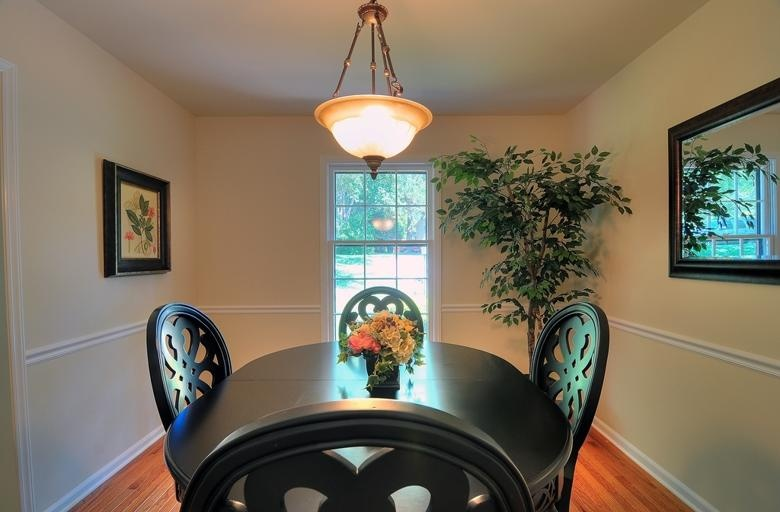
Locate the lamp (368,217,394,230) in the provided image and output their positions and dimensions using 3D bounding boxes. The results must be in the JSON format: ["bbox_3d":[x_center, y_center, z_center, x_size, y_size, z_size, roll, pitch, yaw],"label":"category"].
[{"bbox_3d":[-0.086,-0.321,5.099,0.183,0.171,0.121,3,7,2],"label":"lamp"}]

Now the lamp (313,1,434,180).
[{"bbox_3d":[-0.100,-1.145,3.491,0.745,1.271,0.928,-1,3,4],"label":"lamp"}]

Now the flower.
[{"bbox_3d":[-0.038,0.620,3.323,0.492,0.470,0.543,0,0,34],"label":"flower"}]
